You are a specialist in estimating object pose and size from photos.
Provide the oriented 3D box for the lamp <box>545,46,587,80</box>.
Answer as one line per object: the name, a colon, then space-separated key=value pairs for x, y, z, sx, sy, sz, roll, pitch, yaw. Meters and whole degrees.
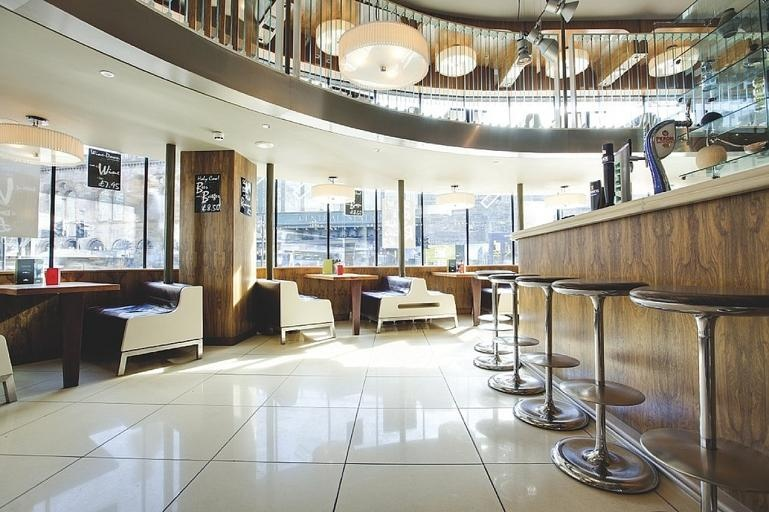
lamp: x=3.309 y=-3.646 z=10.437 sx=0.943 sy=0.229 sz=0.956 roll=-4 pitch=0 yaw=28

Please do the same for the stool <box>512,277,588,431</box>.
stool: x=1.763 y=0.969 z=5.870 sx=0.854 sy=1.513 sz=0.856 roll=0 pitch=0 yaw=39

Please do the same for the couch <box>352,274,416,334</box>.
couch: x=0.028 y=1.002 z=9.591 sx=0.762 sy=0.881 sz=1.308 roll=3 pitch=-5 yaw=-16

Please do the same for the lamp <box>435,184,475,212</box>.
lamp: x=1.394 y=-1.087 z=10.614 sx=0.569 sy=0.349 sz=0.576 roll=2 pitch=3 yaw=27

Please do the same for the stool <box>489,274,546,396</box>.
stool: x=1.566 y=0.887 z=6.556 sx=0.777 sy=1.312 sz=0.731 roll=-1 pitch=-3 yaw=20

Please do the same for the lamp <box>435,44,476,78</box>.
lamp: x=1.282 y=-3.542 z=9.935 sx=0.686 sy=0.350 sz=0.920 roll=-1 pitch=5 yaw=4

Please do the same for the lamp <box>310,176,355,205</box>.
lamp: x=-1.010 y=-1.122 z=9.769 sx=0.574 sy=0.312 sz=0.565 roll=-2 pitch=6 yaw=-31

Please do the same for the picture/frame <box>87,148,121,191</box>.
picture/frame: x=-4.376 y=-1.362 z=8.541 sx=0.075 sy=0.704 sz=0.611 roll=-2 pitch=-3 yaw=42

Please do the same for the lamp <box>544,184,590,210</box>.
lamp: x=3.651 y=-1.126 z=11.229 sx=0.642 sy=0.334 sz=0.640 roll=0 pitch=-1 yaw=9

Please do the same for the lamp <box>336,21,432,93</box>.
lamp: x=-0.115 y=-2.403 z=6.625 sx=0.935 sy=0.242 sz=0.955 roll=-18 pitch=-14 yaw=42

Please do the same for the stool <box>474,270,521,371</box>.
stool: x=1.461 y=0.837 z=7.212 sx=0.649 sy=1.155 sz=0.645 roll=-1 pitch=-2 yaw=26

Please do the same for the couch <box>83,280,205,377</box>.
couch: x=-3.436 y=0.897 z=7.608 sx=1.451 sy=0.988 sz=1.081 roll=2 pitch=3 yaw=38
